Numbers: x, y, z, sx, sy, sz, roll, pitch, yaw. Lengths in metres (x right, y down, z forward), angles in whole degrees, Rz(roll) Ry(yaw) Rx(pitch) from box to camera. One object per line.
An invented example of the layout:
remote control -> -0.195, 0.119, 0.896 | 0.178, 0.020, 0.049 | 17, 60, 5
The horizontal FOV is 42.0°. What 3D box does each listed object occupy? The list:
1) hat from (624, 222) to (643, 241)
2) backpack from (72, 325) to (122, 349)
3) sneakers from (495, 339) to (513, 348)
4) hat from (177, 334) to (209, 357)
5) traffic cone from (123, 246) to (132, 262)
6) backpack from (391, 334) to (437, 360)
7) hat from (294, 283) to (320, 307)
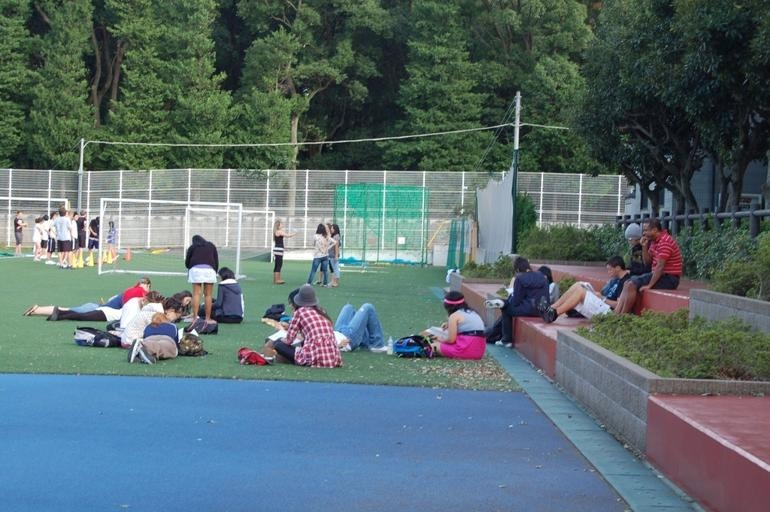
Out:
hat -> 5.850, -0.546, 23.723 | 0.349, 0.412, 0.675 | 2, 3, 14
backpack -> -6.338, 1.779, 22.056 | 0.702, 0.277, 0.520 | 3, 1, 3
sneakers -> 2.736, 2.021, 23.341 | 0.382, 0.163, 0.142 | 4, -3, 20
hat -> -4.120, 1.878, 21.484 | 0.619, 0.471, 0.304 | 0, 3, -12
traffic cone -> -11.894, -0.087, 46.289 | 0.458, 0.862, 0.403 | 3, 44, -17
backpack -> 0.621, 1.975, 21.901 | 0.691, 0.313, 0.484 | 1, -8, -23
hat -> -1.699, 0.776, 21.267 | 0.402, 0.237, 0.518 | -3, 23, -11
